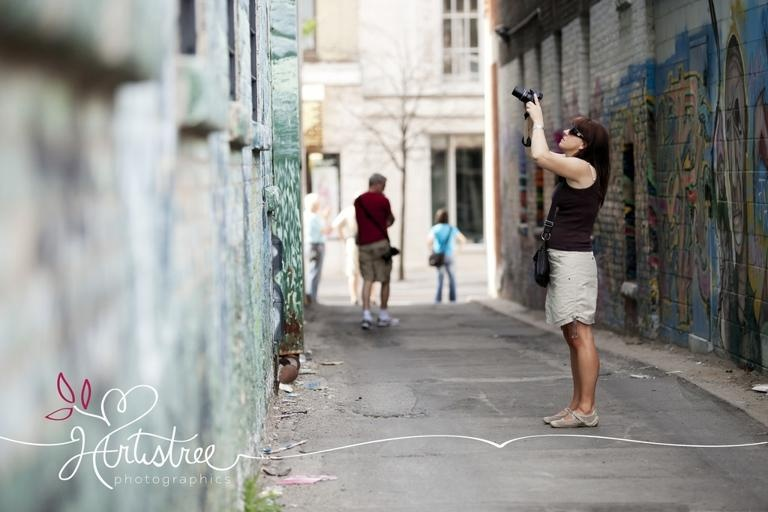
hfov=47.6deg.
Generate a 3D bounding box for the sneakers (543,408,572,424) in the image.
[{"bbox_3d":[1.355,1.233,6.857,0.238,0.106,0.092,-4,-2,-16],"label":"sneakers"}]

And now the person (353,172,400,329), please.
[{"bbox_3d":[-0.117,-0.093,11.960,0.583,2.090,0.658,-1,4,-1],"label":"person"}]

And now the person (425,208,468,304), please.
[{"bbox_3d":[1.148,0.000,16.395,0.596,1.816,1.598,0,4,4],"label":"person"}]

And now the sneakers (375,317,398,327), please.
[{"bbox_3d":[0.050,0.895,12.079,0.266,0.138,0.114,-4,14,-12],"label":"sneakers"}]

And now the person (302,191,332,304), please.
[{"bbox_3d":[-1.269,-0.177,16.003,0.413,1.950,1.283,-1,4,-4],"label":"person"}]

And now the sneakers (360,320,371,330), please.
[{"bbox_3d":[-0.245,0.886,11.796,0.134,0.141,0.227,-1,4,-1],"label":"sneakers"}]

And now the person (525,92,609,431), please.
[{"bbox_3d":[1.435,0.029,6.798,0.629,2.556,0.467,0,4,9],"label":"person"}]

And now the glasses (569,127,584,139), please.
[{"bbox_3d":[1.496,-0.967,6.795,0.028,0.096,0.091,-32,9,6],"label":"glasses"}]

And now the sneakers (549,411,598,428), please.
[{"bbox_3d":[1.478,1.254,6.803,0.366,0.170,0.148,1,-5,6],"label":"sneakers"}]

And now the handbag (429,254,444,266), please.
[{"bbox_3d":[0.951,0.033,15.997,0.175,0.251,0.248,34,-8,12],"label":"handbag"}]
